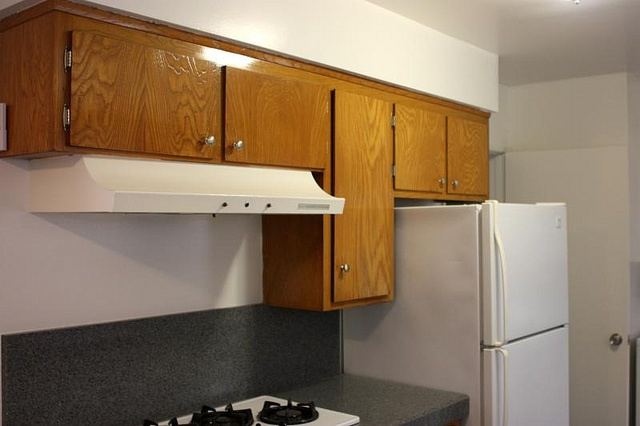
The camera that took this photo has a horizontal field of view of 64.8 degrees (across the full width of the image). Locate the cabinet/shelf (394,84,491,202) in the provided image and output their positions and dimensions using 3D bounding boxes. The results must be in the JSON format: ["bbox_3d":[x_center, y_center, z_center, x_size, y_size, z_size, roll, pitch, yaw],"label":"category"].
[{"bbox_3d":[0.754,-0.442,3.200,0.276,0.498,0.777,-7,-8,41],"label":"cabinet/shelf"}]
